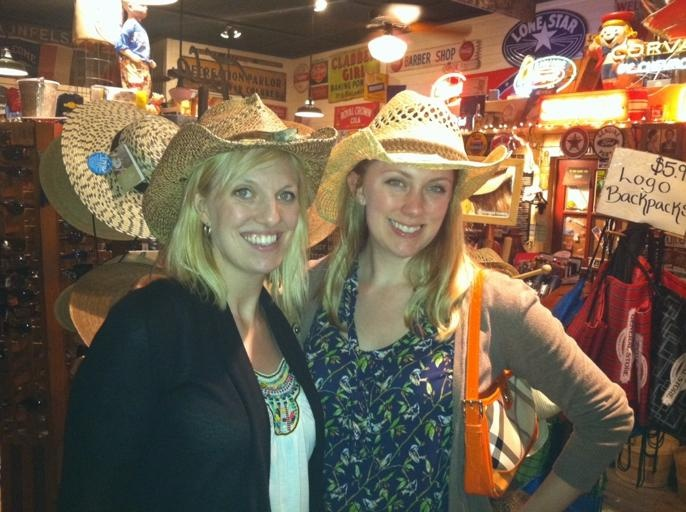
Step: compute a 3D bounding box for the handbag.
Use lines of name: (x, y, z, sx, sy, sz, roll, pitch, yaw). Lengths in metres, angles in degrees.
handbag: (0.646, 0.557, 2.569, 0.339, 0.877, 0.339, 7, 11, 20)

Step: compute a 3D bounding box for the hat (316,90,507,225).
hat: (0.371, -0.566, 2.970, 0.701, 0.403, 0.853, 6, 1, 18)

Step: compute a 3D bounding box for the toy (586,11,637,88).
toy: (2.737, -2.145, 6.268, 0.411, 0.819, 0.874, 7, 11, 18)

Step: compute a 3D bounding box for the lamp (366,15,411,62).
lamp: (0.546, -2.883, 8.072, 0.492, 0.583, 0.650, 4, 11, 1)

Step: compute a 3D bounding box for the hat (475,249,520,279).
hat: (0.740, 0.014, 3.040, 0.152, 0.058, 0.198, -10, 31, -29)
